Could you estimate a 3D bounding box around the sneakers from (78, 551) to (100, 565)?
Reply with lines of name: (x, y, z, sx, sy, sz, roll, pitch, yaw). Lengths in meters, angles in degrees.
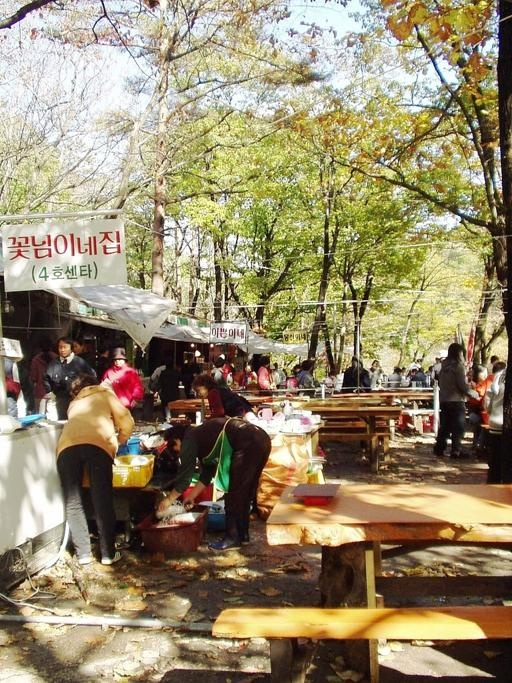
sneakers: (-1.370, 1.750, 4.686, 0.065, 0.067, 0.154, 2, 2, 5)

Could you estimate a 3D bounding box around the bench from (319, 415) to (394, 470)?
bench: (1.676, 1.526, 9.493, 1.109, 0.355, 1.573, 0, -2, 6)

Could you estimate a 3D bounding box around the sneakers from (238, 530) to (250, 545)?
sneakers: (-0.103, 1.758, 5.212, 0.069, 0.144, 0.152, 3, 5, 5)

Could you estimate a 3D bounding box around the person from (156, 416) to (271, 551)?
person: (-0.263, 1.210, 5.252, 1.305, 1.274, 0.866, -1, -19, 8)

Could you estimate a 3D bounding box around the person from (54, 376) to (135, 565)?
person: (-1.352, 1.051, 4.878, 0.537, 1.397, 0.584, 1, 0, 0)

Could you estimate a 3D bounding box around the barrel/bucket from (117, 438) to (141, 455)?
barrel/bucket: (-1.220, 1.007, 5.573, 0.148, 0.171, 0.180, 2, -4, -16)

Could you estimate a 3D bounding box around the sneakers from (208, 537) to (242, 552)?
sneakers: (-0.252, 1.789, 5.124, 0.313, 0.112, 0.109, 6, -7, -14)

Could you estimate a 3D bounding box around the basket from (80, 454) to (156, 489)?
basket: (-1.202, 1.113, 4.954, 0.423, 0.173, 0.515, -1, -7, 4)

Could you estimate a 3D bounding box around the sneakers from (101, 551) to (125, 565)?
sneakers: (-1.171, 1.774, 4.750, 0.068, 0.076, 0.183, 12, 12, 25)

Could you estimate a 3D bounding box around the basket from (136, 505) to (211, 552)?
basket: (-0.673, 1.673, 5.073, 0.716, 0.360, 0.357, 2, -1, -35)

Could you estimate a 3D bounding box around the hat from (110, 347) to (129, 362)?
hat: (-2.010, 0.182, 8.367, 0.288, 0.146, 0.236, 3, 0, 38)
